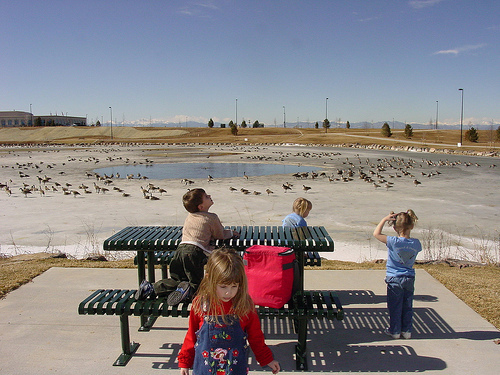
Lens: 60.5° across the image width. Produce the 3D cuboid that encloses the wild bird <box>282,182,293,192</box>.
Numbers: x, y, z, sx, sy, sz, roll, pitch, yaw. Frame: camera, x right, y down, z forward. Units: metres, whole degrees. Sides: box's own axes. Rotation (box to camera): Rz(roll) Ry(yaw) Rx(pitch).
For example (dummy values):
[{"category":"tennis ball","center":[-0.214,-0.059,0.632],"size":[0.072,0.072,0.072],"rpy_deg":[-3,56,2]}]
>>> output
[{"category":"wild bird","center":[2.366,-0.036,26.480],"size":[0.407,0.574,1.003],"rpy_deg":[-2,-6,3]}]

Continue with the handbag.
[{"category":"handbag","center":[0.305,1.290,6.494],"size":[0.920,0.675,0.824],"rpy_deg":[0,2,14]}]

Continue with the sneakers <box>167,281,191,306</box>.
[{"category":"sneakers","center":[-1.016,1.540,6.229],"size":[0.220,0.388,0.122],"rpy_deg":[39,-19,28]}]

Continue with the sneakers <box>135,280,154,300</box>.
[{"category":"sneakers","center":[-1.601,1.551,6.527],"size":[0.300,0.277,0.269],"rpy_deg":[-3,7,-17]}]

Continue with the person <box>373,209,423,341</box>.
[{"category":"person","center":[2.454,1.402,7.041],"size":[0.655,2.093,0.486],"rpy_deg":[1,9,17]}]
